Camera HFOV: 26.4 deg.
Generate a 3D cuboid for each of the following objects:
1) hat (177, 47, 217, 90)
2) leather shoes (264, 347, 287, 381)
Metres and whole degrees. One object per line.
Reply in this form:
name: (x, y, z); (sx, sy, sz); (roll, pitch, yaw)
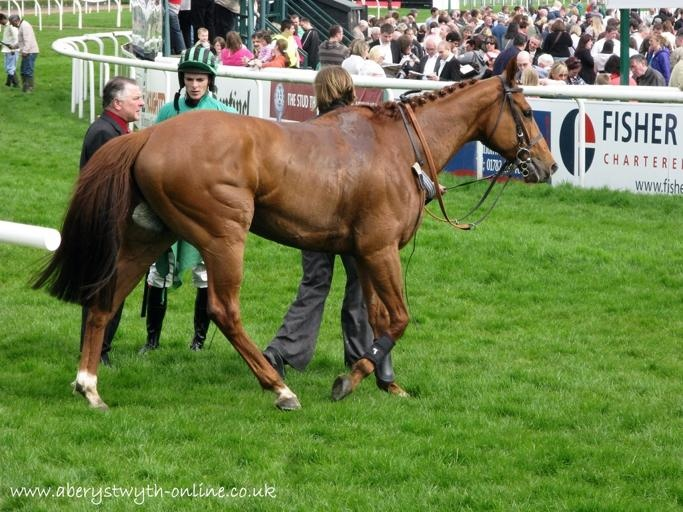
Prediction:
hat: (-1.208, -1.580, 12.065); (0.255, 0.344, 0.343); (1, 7, -1)
leather shoes: (-0.535, 0.878, 11.704); (0.118, 0.230, 0.164); (-37, 3, -14)
